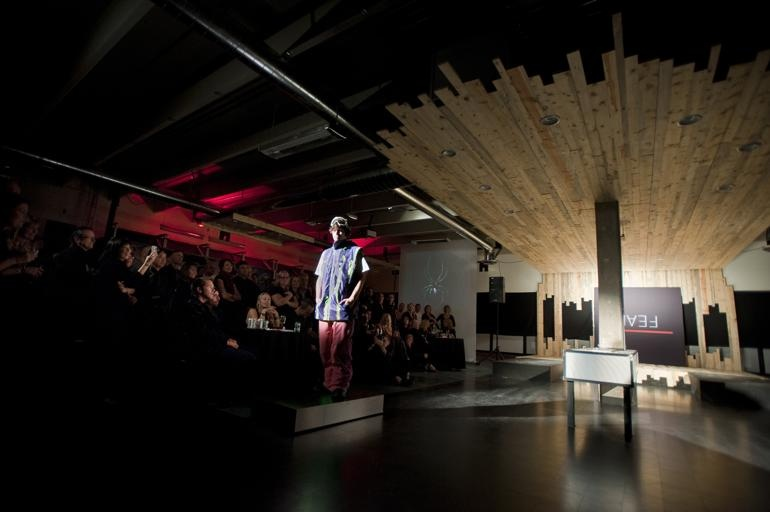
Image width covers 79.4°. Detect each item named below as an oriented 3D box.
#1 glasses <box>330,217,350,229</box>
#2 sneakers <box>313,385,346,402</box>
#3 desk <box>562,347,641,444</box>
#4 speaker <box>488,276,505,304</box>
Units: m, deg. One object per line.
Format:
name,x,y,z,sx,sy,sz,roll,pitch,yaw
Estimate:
glasses,-0.604,-0.475,6.192,0.190,0.104,0.206,1,-14,1
sneakers,-0.835,1.850,6.227,0.180,0.209,0.521,16,-26,-36
desk,3.237,1.874,6.843,0.977,0.870,0.755,-6,-9,40
speaker,3.255,0.936,13.513,0.524,0.689,0.297,12,15,29
